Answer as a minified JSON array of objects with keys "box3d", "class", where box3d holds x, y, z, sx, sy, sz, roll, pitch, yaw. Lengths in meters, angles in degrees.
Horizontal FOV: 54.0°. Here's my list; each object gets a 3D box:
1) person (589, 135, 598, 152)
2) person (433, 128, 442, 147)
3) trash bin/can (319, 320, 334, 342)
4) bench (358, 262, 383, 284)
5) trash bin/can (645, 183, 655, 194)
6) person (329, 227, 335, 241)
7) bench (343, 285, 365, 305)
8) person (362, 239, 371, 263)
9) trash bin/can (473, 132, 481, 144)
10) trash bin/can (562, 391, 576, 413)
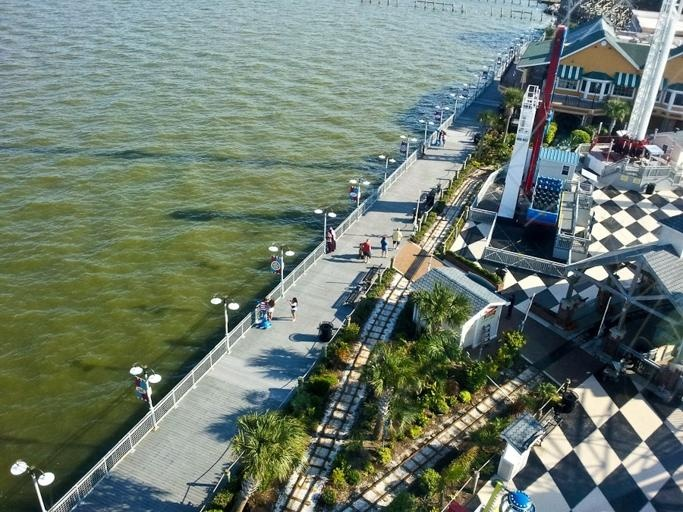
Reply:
[{"box3d":[28.859,-13.064,76.868,0.763,0.784,4.038,11,27,20],"class":"person"},{"box3d":[11.737,-14.664,82.276,1.324,1.958,0.563,3,-9,8],"class":"person"},{"box3d":[-1.231,5.761,52.172,1.449,1.340,1.318,0,34,-5],"class":"trash bin/can"},{"box3d":[2.569,1.480,58.499,0.949,0.661,3.039,11,26,17],"class":"bench"},{"box3d":[31.623,-6.959,68.910,0.923,1.060,0.726,6,28,10],"class":"trash bin/can"},{"box3d":[-0.826,-2.087,60.099,0.425,0.995,0.596,11,-3,-40],"class":"person"},{"box3d":[1.004,3.227,56.034,0.735,0.453,2.327,17,37,17],"class":"bench"},{"box3d":[2.220,-0.532,59.950,0.619,1.926,0.889,11,29,17],"class":"person"},{"box3d":[17.058,-14.897,84.223,0.955,0.388,1.409,21,58,19],"class":"trash bin/can"},{"box3d":[16.012,10.333,47.345,0.896,1.295,0.882,10,38,27],"class":"trash bin/can"}]
